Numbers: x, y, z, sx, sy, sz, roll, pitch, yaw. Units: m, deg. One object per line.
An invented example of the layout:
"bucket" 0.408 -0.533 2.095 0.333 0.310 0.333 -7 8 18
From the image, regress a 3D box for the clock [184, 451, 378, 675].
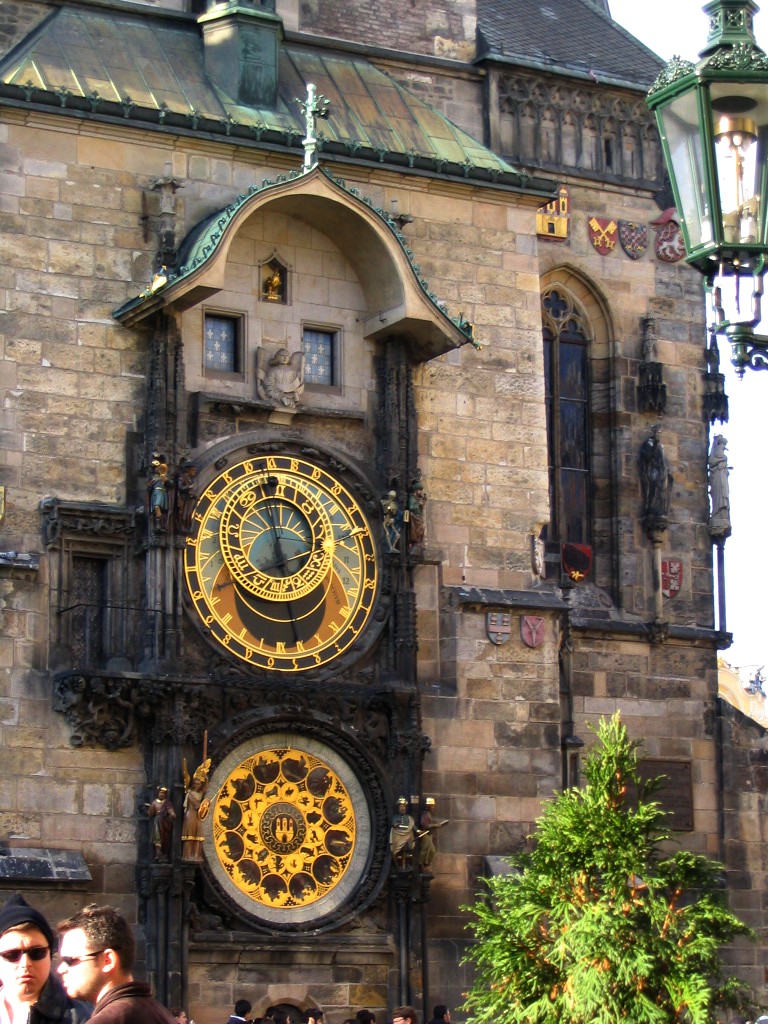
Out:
"clock" -1.009 0.477 35.859 2.110 2.179 0.381 5 -10 -43

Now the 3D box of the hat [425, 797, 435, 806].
"hat" 0.402 2.834 35.743 0.071 0.050 0.071 -1 -5 32

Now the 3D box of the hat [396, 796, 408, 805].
"hat" 0.142 2.828 35.728 0.057 0.106 0.068 -1 -4 5

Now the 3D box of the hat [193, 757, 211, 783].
"hat" -1.736 2.472 34.603 0.135 0.338 0.342 -3 -7 5

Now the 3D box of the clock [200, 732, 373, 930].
"clock" -1.039 3.129 35.303 1.570 1.509 0.083 31 -33 -24
